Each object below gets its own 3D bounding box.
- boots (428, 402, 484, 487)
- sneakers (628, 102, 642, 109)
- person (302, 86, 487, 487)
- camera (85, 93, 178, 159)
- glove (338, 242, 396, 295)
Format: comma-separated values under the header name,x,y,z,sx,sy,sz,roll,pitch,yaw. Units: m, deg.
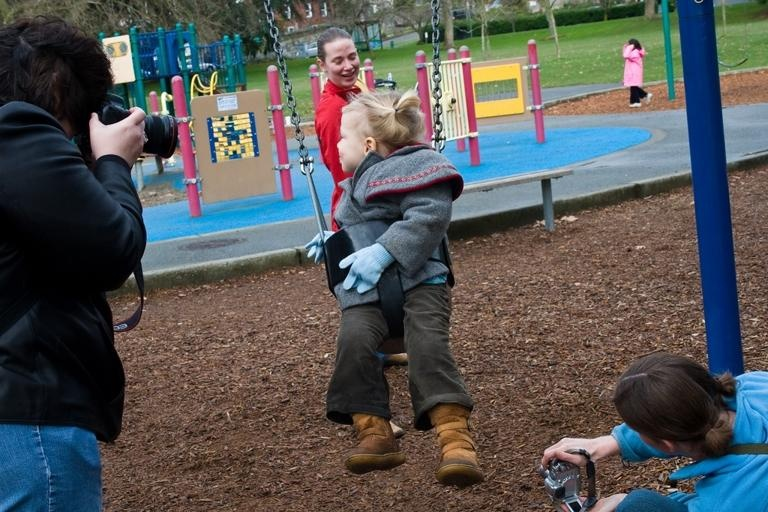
name,x,y,z,sx,sy,sz,roll,pitch,yaw
boots,0.283,0.765,3.386,0.172,0.328,0.354,-6,-17,7
sneakers,5.373,-3.248,17.828,0.273,0.112,0.107,4,4,-38
person,0.047,0.102,3.706,0.772,1.684,0.997,0,-3,-9
camera,-0.903,-0.473,3.023,0.276,0.215,0.283,1,14,-3
glove,-0.086,0.030,3.715,0.254,0.213,0.221,-22,12,-24
